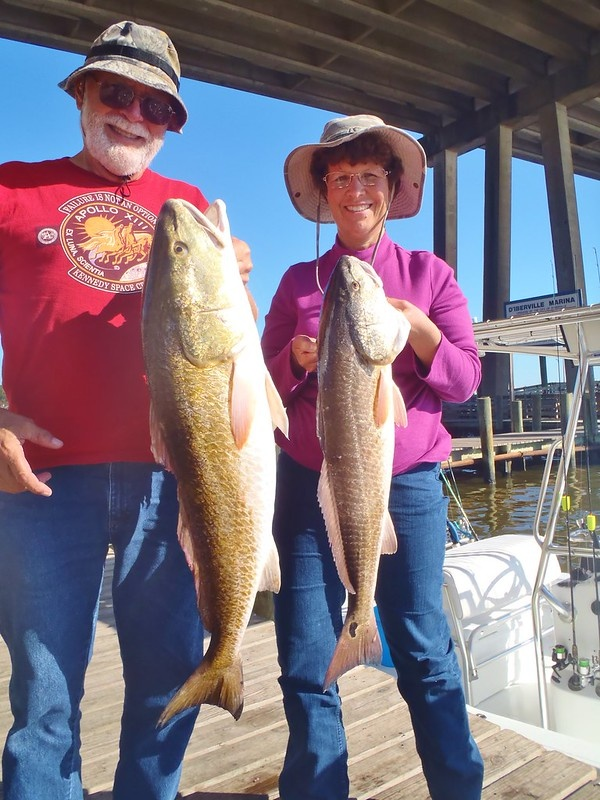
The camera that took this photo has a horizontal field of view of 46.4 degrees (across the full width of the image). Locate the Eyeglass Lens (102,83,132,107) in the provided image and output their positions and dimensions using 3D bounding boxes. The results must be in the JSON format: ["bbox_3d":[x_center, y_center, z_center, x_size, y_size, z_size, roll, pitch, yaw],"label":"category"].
[{"bbox_3d":[-0.576,-0.933,2.186,0.079,0.035,0.080,9,18,-17],"label":"Eyeglass Lens"}]

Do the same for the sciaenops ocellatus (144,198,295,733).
[{"bbox_3d":[-0.209,0.126,1.812,0.358,1.330,0.237,-2,0,-15],"label":"sciaenops ocellatus"}]

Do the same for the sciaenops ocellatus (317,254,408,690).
[{"bbox_3d":[0.186,0.196,2.060,0.278,1.188,0.200,-2,0,-3],"label":"sciaenops ocellatus"}]
